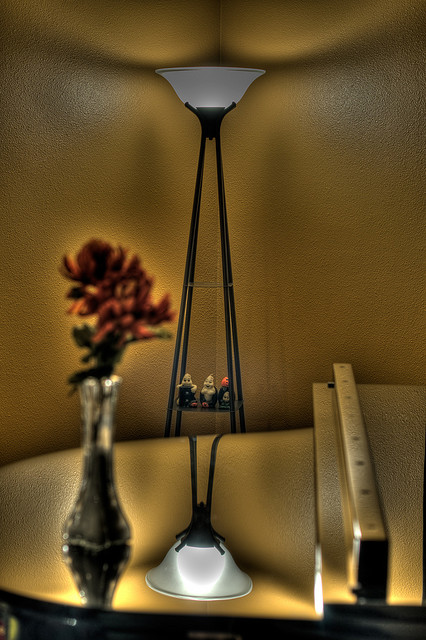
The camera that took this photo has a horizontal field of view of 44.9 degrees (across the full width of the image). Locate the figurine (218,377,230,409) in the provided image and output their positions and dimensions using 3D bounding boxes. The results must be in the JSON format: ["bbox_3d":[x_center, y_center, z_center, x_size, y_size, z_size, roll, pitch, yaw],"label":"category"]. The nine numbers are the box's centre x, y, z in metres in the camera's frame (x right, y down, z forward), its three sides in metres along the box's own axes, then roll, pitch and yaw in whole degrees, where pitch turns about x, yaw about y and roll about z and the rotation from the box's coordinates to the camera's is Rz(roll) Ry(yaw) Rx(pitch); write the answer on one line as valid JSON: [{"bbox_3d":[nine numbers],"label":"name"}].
[{"bbox_3d":[0.042,0.301,2.099,0.047,0.109,0.083,-2,13,0],"label":"figurine"}]

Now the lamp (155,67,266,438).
[{"bbox_3d":[-0.003,-0.221,2.235,0.471,1.589,0.722,-1,13,5],"label":"lamp"}]

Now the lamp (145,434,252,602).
[{"bbox_3d":[-0.038,0.653,1.790,0.347,0.484,0.307,1,-7,-6],"label":"lamp"}]

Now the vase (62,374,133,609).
[{"bbox_3d":[-0.181,0.274,0.818,0.088,0.345,0.115,1,13,15],"label":"vase"}]

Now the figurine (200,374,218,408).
[{"bbox_3d":[-0.018,0.295,2.123,0.068,0.118,0.074,2,13,19],"label":"figurine"}]

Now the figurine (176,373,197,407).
[{"bbox_3d":[-0.106,0.295,2.125,0.073,0.119,0.102,-12,16,-38],"label":"figurine"}]
